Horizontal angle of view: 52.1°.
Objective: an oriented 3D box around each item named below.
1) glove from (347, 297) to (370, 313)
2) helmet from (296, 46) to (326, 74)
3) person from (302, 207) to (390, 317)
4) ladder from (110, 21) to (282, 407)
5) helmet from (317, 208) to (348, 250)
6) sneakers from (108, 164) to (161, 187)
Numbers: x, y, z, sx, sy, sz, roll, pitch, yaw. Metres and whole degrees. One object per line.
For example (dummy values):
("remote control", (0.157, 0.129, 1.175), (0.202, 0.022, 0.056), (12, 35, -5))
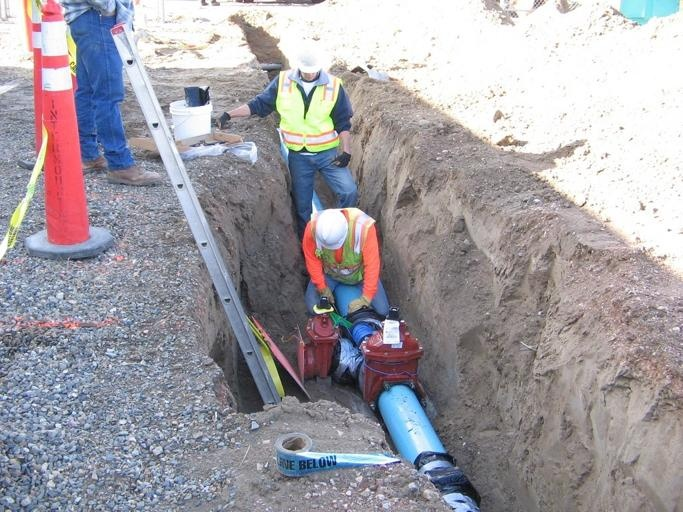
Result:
("glove", (0.153, 0.439, 6.335), (0.127, 0.064, 0.163), (-6, 15, 1))
("helmet", (-0.304, -1.948, 6.922), (0.292, 0.247, 0.168), (-7, 34, -12))
("person", (0.051, 0.006, 6.470), (0.812, 1.101, 0.842), (6, 50, 15))
("ladder", (-0.924, -0.214, 4.648), (0.260, 2.428, 1.479), (-27, 42, -35))
("helmet", (-0.080, -0.242, 6.234), (0.273, 0.343, 0.144), (-9, 0, 18))
("sneakers", (-1.761, -0.698, 6.019), (0.450, 0.208, 0.177), (-3, 23, -13))
